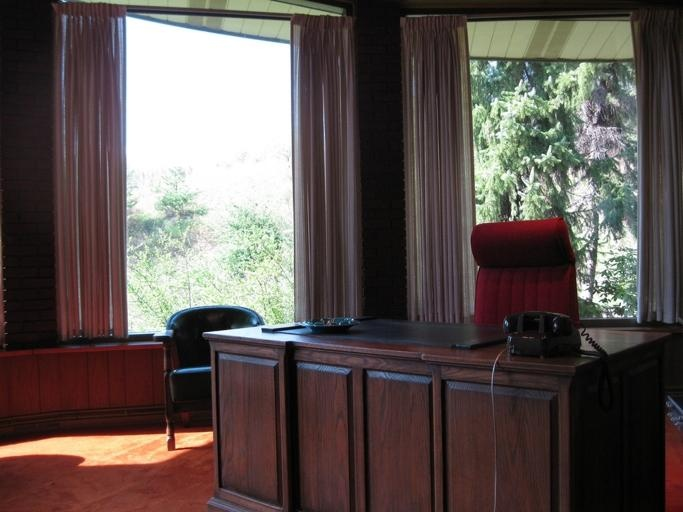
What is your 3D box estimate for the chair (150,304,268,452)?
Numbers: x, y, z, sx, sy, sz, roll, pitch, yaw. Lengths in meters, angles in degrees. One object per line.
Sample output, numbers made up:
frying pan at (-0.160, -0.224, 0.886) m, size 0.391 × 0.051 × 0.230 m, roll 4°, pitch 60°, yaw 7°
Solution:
chair at (-0.868, 0.826, 4.193) m, size 0.722 × 0.954 × 0.600 m, roll -3°, pitch -5°, yaw -9°
